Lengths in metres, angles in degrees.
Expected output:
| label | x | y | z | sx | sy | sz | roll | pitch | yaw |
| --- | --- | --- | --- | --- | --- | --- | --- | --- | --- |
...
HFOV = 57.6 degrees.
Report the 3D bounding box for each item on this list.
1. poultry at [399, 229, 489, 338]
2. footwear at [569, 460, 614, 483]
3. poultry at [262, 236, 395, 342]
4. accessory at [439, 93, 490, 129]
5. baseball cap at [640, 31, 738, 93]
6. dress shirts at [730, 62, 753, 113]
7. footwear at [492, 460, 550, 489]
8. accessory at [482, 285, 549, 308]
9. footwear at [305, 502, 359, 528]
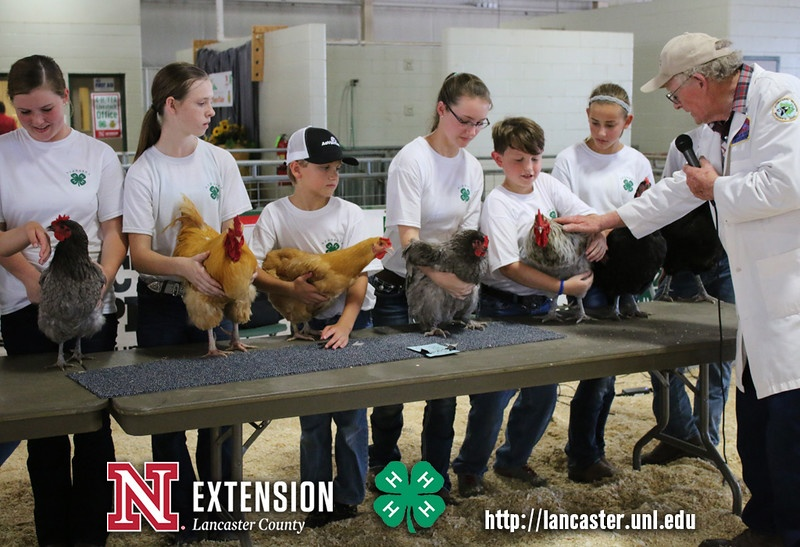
| label | x | y | z | sx | sy | sz | roll | pitch | yaw |
| --- | --- | --- | --- | --- | --- | --- | --- | --- | --- |
| poultry | 0.226 | 0.059 | 3.731 | 0.556 | 0.563 | 0.438 | 2 | 3 | 37 |
| footwear | 1.176 | 1.215 | 4.570 | 0.323 | 0.146 | 0.112 | -7 | 6 | 3 |
| poultry | -0.386 | 0.040 | 3.652 | 0.711 | 0.527 | 0.340 | 3 | 9 | -3 |
| accessory | 0.347 | -0.859 | 3.925 | 0.277 | 0.151 | 0.154 | 0 | 14 | 0 |
| baseball cap | 1.399 | -1.037 | 3.595 | 0.419 | 0.228 | 0.259 | -21 | 14 | 26 |
| dress shirts | 1.630 | -0.882 | 3.456 | 0.119 | 0.193 | 0.147 | 11 | -8 | 16 |
| footwear | 0.754 | 1.224 | 4.507 | 0.339 | 0.152 | 0.115 | 3 | 8 | 11 |
| accessory | 0.683 | 0.141 | 4.270 | 0.209 | 0.062 | 0.189 | 4 | 11 | 17 |
| footwear | -0.379 | 1.314 | 4.016 | 0.340 | 0.144 | 0.111 | 0 | 5 | -9 |
